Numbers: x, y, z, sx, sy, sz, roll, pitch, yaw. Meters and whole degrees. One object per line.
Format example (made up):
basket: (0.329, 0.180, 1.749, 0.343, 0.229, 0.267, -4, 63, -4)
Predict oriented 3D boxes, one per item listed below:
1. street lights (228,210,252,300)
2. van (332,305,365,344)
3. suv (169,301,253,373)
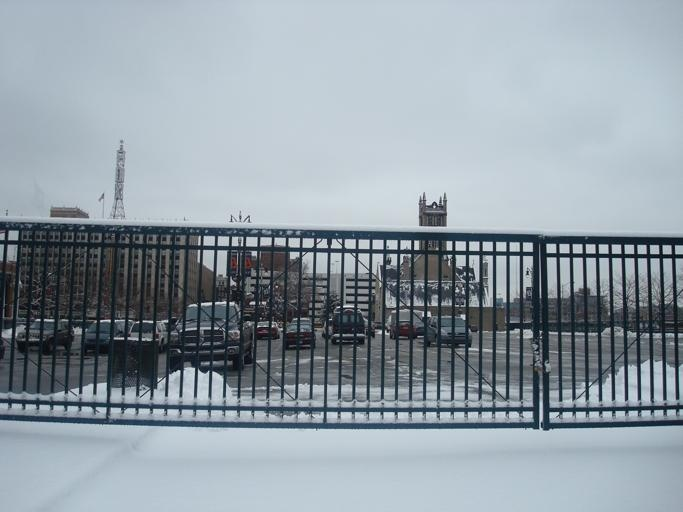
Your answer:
street lights: (-1.741, -0.001, 16.257, 0.468, 0.144, 1.919, 3, -58, 0)
van: (0.266, 2.103, 28.904, 1.049, 1.224, 2.413, 1, -5, -1)
suv: (-3.208, 1.806, 22.094, 1.476, 1.463, 3.718, -1, -10, -1)
